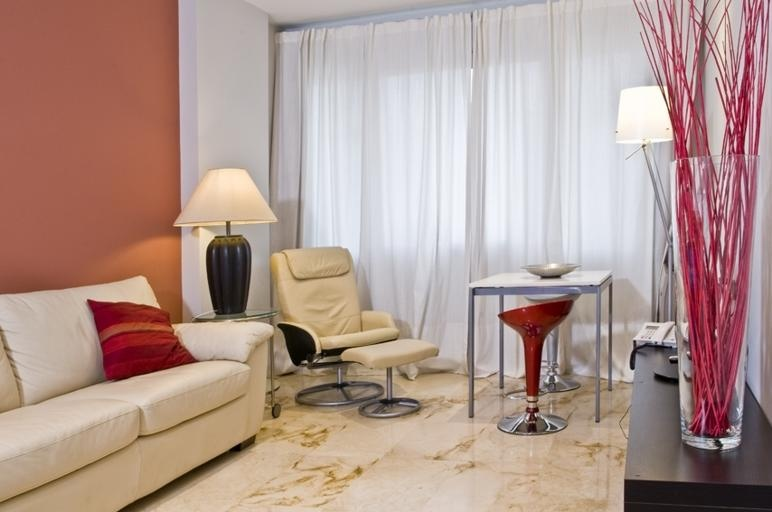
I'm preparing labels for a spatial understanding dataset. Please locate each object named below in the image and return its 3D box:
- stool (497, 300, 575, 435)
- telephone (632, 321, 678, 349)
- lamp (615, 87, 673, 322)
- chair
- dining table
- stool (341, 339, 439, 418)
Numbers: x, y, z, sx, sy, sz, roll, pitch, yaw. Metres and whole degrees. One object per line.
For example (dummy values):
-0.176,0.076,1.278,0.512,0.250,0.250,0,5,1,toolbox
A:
0.996,0.710,4.059,0.508,0.875,0.382,-3,9,-1,stool
1.508,0.437,3.391,0.182,0.047,0.265,-1,6,26,telephone
1.996,-0.361,4.641,0.412,1.806,0.701,2,10,25,lamp
-0.370,0.519,4.855,1.003,1.183,1.128,-2,3,3,chair
1.167,0.616,4.577,0.984,1.044,1.142,-1,-1,18,dining table
0.045,0.893,4.505,0.639,0.519,0.429,-9,11,-38,stool
